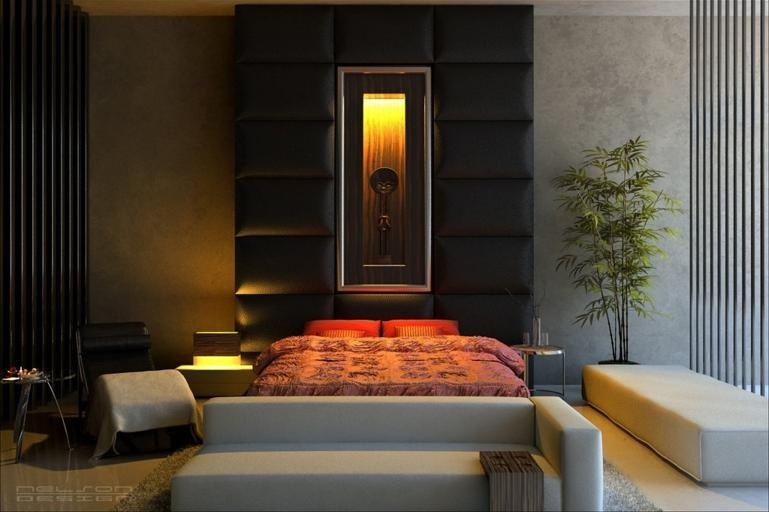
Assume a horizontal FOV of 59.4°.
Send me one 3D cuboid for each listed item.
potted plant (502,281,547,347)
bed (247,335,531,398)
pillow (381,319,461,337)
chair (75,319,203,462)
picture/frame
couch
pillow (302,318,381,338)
[{"bbox_3d":[1.500,0.613,7.029,0.394,0.601,0.757,-2,3,12],"label":"potted plant"},{"bbox_3d":[0.036,0.948,5.748,2.305,0.337,1.222,-2,3,-1],"label":"bed"},{"bbox_3d":[0.372,0.731,6.818,0.782,0.153,0.355,-2,3,0],"label":"pillow"},{"bbox_3d":[-2.188,1.139,5.956,0.996,0.723,1.259,0,2,-35],"label":"chair"},{"bbox_3d":[-0.001,-0.812,7.128,1.052,2.382,0.173,-2,4,1],"label":"picture/frame"},{"bbox_3d":[0.001,1.361,4.682,2.805,0.696,0.602,-2,3,1],"label":"couch"},{"bbox_3d":[-0.408,0.747,6.860,0.779,0.171,0.270,-2,3,-4],"label":"pillow"}]
